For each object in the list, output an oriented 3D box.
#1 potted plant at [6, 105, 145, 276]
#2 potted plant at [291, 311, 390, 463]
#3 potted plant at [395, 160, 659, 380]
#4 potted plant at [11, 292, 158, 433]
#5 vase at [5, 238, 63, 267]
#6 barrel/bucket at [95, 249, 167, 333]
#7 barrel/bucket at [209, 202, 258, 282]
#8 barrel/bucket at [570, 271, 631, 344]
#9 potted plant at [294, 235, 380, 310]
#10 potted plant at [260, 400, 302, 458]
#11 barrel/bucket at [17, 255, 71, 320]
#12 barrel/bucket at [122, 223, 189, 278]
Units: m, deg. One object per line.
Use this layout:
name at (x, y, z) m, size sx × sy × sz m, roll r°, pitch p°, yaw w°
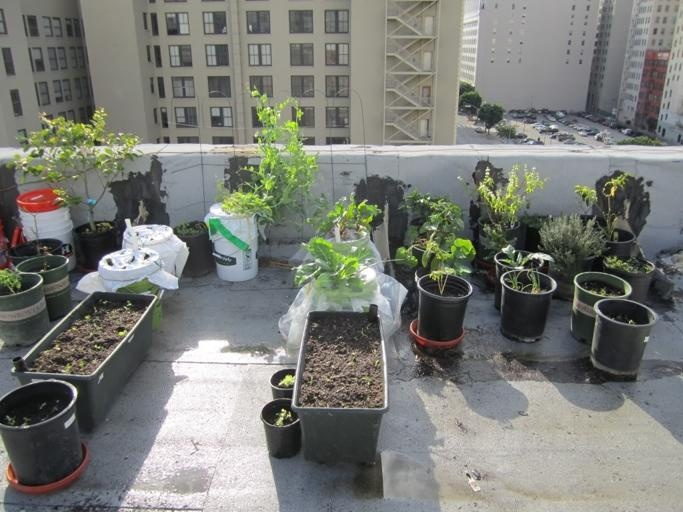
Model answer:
potted plant at (-3.816, -1.249, 7.232) m, size 1.924 × 2.152 × 1.762 m, roll -2°, pitch 45°, yaw -21°
potted plant at (0.011, 1.155, 4.415) m, size 0.763 × 0.698 × 1.500 m, roll 0°, pitch 23°, yaw 2°
potted plant at (2.309, -0.100, 5.935) m, size 3.200 × 1.662 × 2.846 m, roll 1°, pitch 21°, yaw 8°
potted plant at (-2.419, 0.933, 4.928) m, size 0.800 × 0.674 × 1.581 m, roll 6°, pitch 29°, yaw 6°
vase at (-3.991, -0.071, 6.222) m, size 0.398 × 0.429 × 0.385 m, roll -4°, pitch 30°, yaw -19°
barrel/bucket at (-2.377, 0.232, 5.598) m, size 0.835 × 0.846 × 0.822 m, roll 1°, pitch 21°, yaw -1°
barrel/bucket at (-1.510, -0.166, 6.694) m, size 0.704 × 0.928 × 0.763 m, roll -1°, pitch 16°, yaw 0°
barrel/bucket at (2.889, 0.589, 5.395) m, size 0.601 × 0.672 × 0.589 m, roll -1°, pitch 21°, yaw 1°
potted plant at (-0.029, 0.261, 5.372) m, size 0.850 × 0.653 × 0.973 m, roll -12°, pitch -8°, yaw 15°
potted plant at (-0.499, 1.466, 4.233) m, size 0.395 × 0.359 × 0.460 m, roll 1°, pitch 27°, yaw 1°
barrel/bucket at (-3.568, 0.450, 5.725) m, size 0.558 × 0.627 × 0.568 m, roll -6°, pitch 10°, yaw 1°
barrel/bucket at (-2.369, -0.117, 6.083) m, size 0.658 × 0.749 × 0.745 m, roll -1°, pitch 19°, yaw -10°
